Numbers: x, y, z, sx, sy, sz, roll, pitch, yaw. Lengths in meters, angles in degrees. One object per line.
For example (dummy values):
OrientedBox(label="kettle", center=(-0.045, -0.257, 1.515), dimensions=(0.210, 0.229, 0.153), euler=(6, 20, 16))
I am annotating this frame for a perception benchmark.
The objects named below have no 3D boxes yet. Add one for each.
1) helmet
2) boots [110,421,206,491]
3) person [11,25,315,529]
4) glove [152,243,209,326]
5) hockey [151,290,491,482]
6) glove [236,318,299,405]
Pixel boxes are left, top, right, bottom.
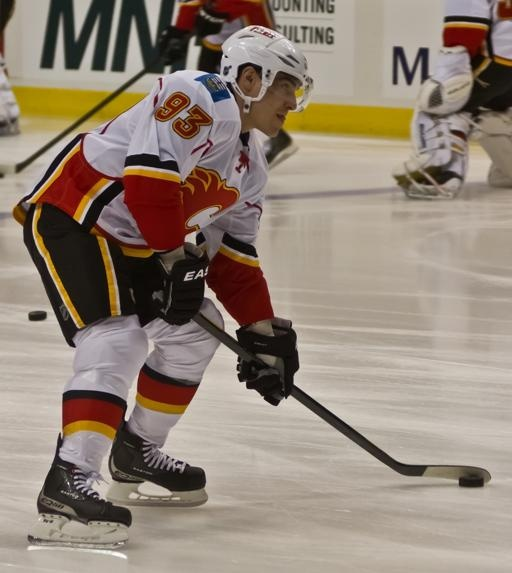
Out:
OrientedBox(label="helmet", center=(0.015, -0.396, 1.411), dimensions=(0.236, 0.155, 0.149), euler=(6, 15, 0))
OrientedBox(label="boots", center=(-0.208, 0.348, 1.504), dimensions=(0.230, 0.100, 0.071), euler=(11, -18, -25))
OrientedBox(label="person", center=(-0.197, -0.020, 1.387), dimensions=(0.422, 0.907, 0.612), euler=(8, 15, 24))
OrientedBox(label="glove", center=(-0.130, -0.004, 1.289), dimensions=(0.095, 0.131, 0.106), euler=(18, 33, 13))
OrientedBox(label="hockey", center=(0.169, 0.257, 1.850), dimensions=(0.784, 0.095, 0.058), euler=(29, -7, -11))
OrientedBox(label="glove", center=(0.022, 0.150, 1.533), dimensions=(0.103, 0.150, 0.142), euler=(6, 12, -32))
